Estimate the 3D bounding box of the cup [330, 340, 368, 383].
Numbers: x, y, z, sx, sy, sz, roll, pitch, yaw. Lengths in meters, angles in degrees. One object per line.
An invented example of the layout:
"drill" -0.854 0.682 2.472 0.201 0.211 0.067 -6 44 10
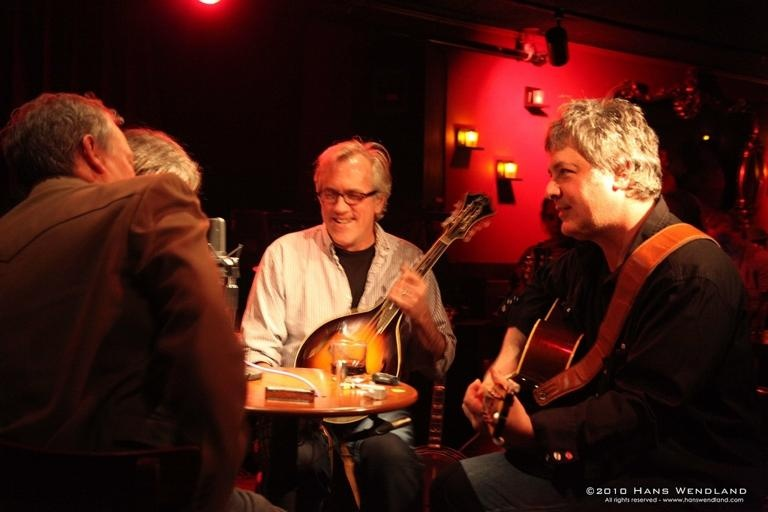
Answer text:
"cup" -0.186 0.539 3.214 0.181 0.190 0.180 1 -6 0
